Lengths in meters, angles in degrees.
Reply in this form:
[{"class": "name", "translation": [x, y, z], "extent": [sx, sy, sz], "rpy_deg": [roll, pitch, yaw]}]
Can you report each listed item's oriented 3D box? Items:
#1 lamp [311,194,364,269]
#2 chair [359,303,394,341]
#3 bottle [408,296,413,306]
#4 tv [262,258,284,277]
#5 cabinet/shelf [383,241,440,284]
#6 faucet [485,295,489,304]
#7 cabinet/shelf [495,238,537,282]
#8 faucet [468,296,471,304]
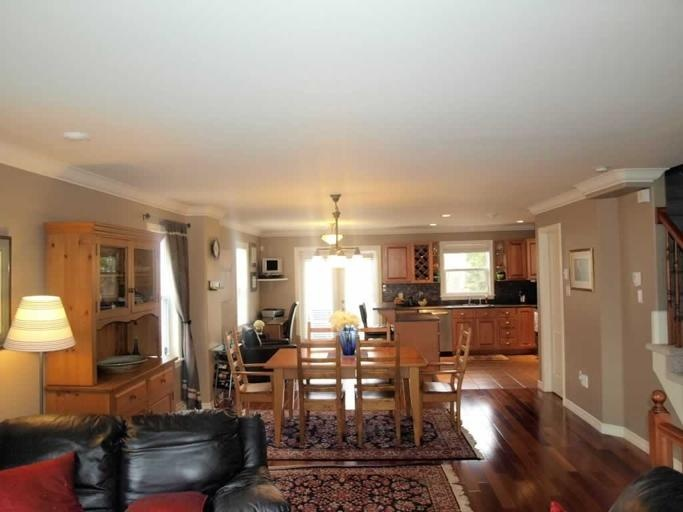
[{"class": "lamp", "translation": [0.069, -0.341, 6.522], "extent": [0.771, 0.931, 0.771], "rpy_deg": [-1, 4, -11]}, {"class": "chair", "translation": [0.584, 1.116, 8.285], "extent": [0.614, 0.841, 0.661], "rpy_deg": [-1, -2, 11]}, {"class": "bottle", "translation": [1.390, 0.880, 10.089], "extent": [0.130, 0.168, 0.092], "rpy_deg": [-2, 4, -7]}, {"class": "tv", "translation": [-1.316, 0.239, 10.070], "extent": [0.530, 0.466, 0.281], "rpy_deg": [-1, -10, -4]}, {"class": "cabinet/shelf", "translation": [1.363, 0.135, 10.044], "extent": [0.868, 0.613, 0.326], "rpy_deg": [0, -4, 0]}, {"class": "faucet", "translation": [2.942, 0.851, 10.146], "extent": [0.081, 0.159, 0.032], "rpy_deg": [-2, 4, -14]}, {"class": "cabinet/shelf", "translation": [3.459, 0.082, 9.909], "extent": [0.876, 0.779, 0.314], "rpy_deg": [0, -4, 19]}, {"class": "faucet", "translation": [2.575, 0.869, 10.113], "extent": [0.070, 0.133, 0.113], "rpy_deg": [-1, 3, 9]}]
